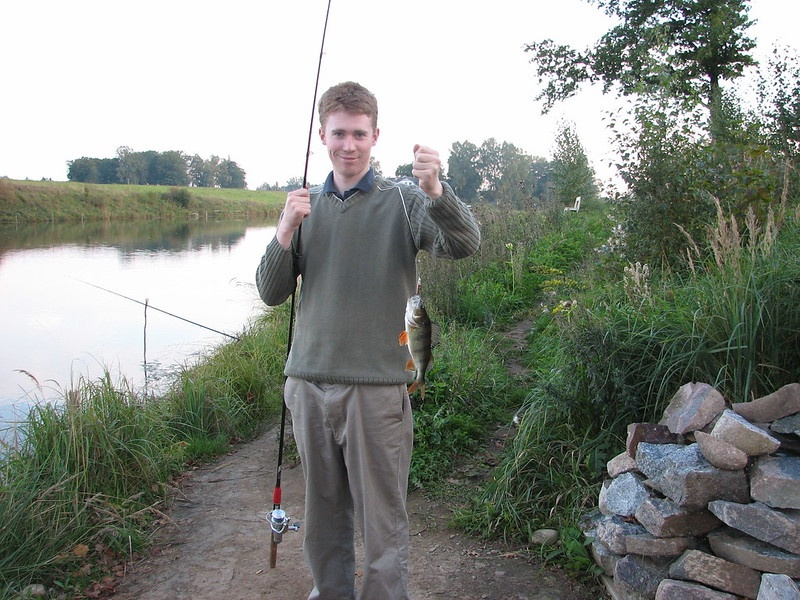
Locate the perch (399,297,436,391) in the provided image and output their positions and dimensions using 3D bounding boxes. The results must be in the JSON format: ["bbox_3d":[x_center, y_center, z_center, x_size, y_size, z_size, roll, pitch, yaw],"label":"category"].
[{"bbox_3d":[0.114,0.242,3.642,0.274,0.838,0.131,-2,4,4],"label":"perch"}]

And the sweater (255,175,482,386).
[{"bbox_3d":[-0.297,-0.163,3.739,1.406,1.455,0.767,1,-10,14],"label":"sweater"}]

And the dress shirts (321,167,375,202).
[{"bbox_3d":[-0.322,-0.730,3.756,0.260,0.244,0.146,-18,-16,8],"label":"dress shirts"}]
